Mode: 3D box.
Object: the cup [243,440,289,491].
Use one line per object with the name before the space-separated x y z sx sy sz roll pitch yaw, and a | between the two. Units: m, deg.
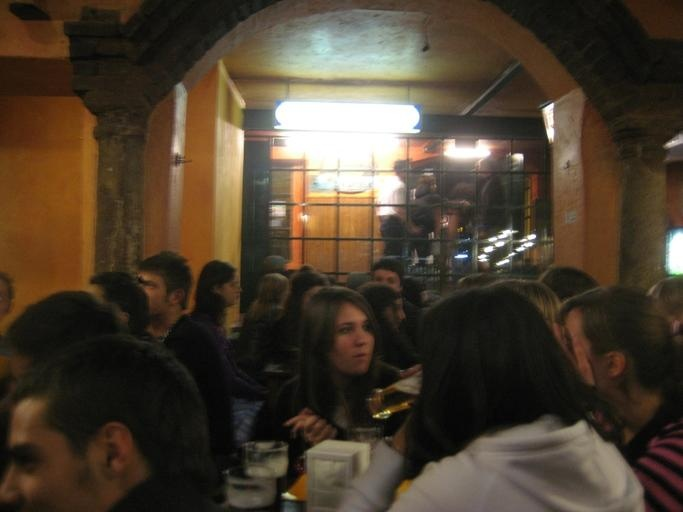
cup | -0.343 0.943 3.235 0.206 0.210 0.204 -1 -9 0
